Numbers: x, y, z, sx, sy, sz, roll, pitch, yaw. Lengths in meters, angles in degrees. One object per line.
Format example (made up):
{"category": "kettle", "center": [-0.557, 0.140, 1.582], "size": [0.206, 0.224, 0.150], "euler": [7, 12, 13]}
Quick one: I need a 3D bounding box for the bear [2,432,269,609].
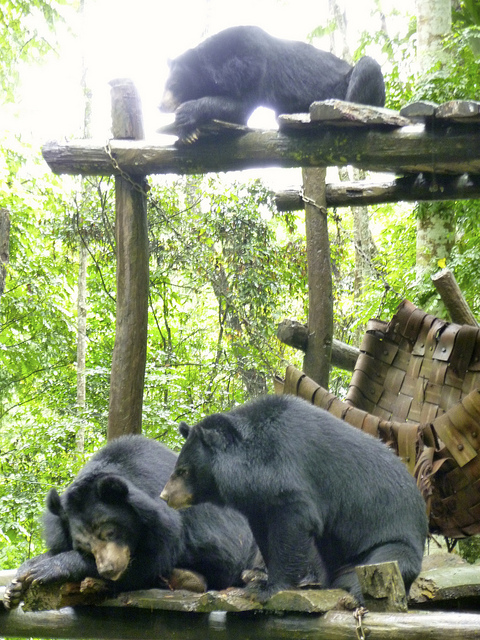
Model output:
{"category": "bear", "center": [-0.388, 0.757, 3.557], "size": [0.863, 0.546, 0.601], "euler": [-6, -11, -37]}

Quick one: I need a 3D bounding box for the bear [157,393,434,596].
{"category": "bear", "center": [0.227, 0.750, 3.594], "size": [1.090, 0.821, 0.624], "euler": [5, -22, -14]}
